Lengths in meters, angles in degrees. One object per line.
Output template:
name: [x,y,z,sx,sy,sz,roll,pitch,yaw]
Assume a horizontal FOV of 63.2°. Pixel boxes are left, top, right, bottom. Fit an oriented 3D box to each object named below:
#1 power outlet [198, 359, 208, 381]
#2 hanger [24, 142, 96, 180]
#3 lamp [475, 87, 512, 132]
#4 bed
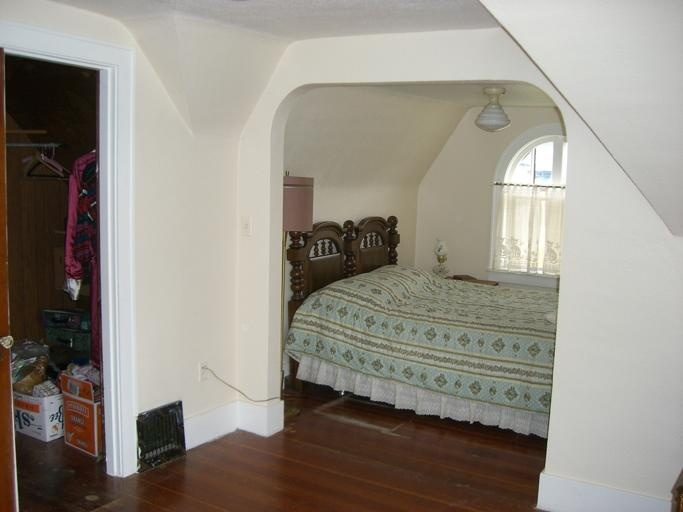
power outlet: [-0.888,0.743,3.577,0.006,0.123,0.062,8,11,37]
hanger: [-2.056,-0.698,4.045,0.450,0.152,0.345,10,30,-18]
lamp: [1.182,-1.134,4.346,0.316,0.354,0.319,-5,12,-27]
bed: [0.918,0.383,4.867,2.225,1.210,2.295,4,9,20]
